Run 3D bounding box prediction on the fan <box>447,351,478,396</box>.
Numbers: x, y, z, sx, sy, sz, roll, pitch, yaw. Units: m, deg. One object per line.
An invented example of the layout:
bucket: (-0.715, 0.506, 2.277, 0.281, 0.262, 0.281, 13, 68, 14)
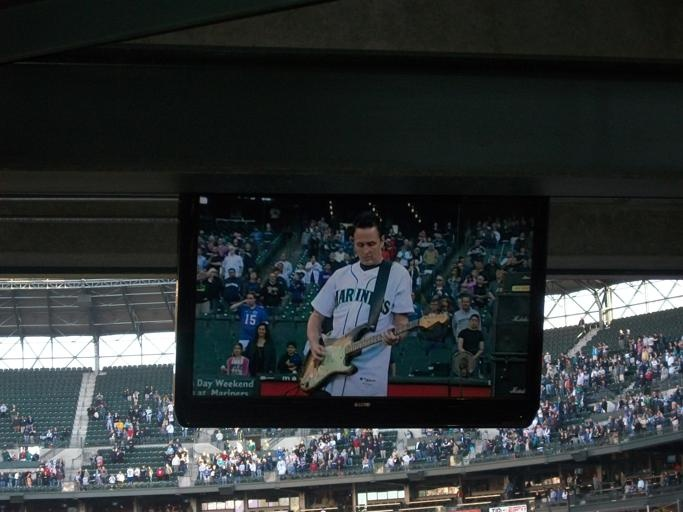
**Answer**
fan: (0.944, 0.931, 14.637, 0.234, 0.319, 0.074, 20, 4, -1)
